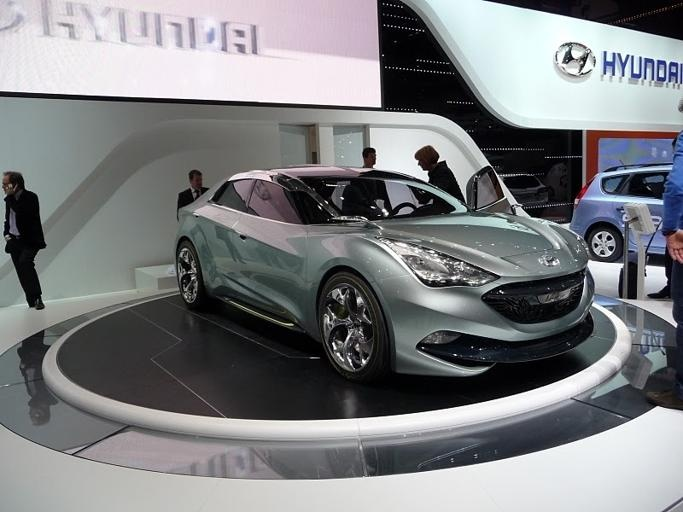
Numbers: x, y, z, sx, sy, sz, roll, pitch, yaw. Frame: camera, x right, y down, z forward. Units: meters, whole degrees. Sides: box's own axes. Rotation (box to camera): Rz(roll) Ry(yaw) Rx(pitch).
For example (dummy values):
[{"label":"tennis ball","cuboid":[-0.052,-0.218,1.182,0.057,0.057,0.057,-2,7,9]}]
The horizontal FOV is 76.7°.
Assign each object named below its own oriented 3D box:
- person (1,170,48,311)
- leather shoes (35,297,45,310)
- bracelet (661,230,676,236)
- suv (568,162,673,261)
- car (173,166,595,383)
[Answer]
[{"label":"person","cuboid":[-4.213,-0.189,5.753,0.500,1.851,0.271,2,11,20]},{"label":"leather shoes","cuboid":[-4.152,0.659,5.938,0.102,0.157,0.155,-3,1,-45]},{"label":"bracelet","cuboid":[2.054,-0.146,2.702,0.079,0.032,0.058,2,9,40]},{"label":"suv","cuboid":[4.093,-0.709,7.491,2.439,1.327,1.465,-1,3,27]},{"label":"car","cuboid":[0.050,0.041,3.663,1.684,1.094,3.167,-8,12,-44]}]
